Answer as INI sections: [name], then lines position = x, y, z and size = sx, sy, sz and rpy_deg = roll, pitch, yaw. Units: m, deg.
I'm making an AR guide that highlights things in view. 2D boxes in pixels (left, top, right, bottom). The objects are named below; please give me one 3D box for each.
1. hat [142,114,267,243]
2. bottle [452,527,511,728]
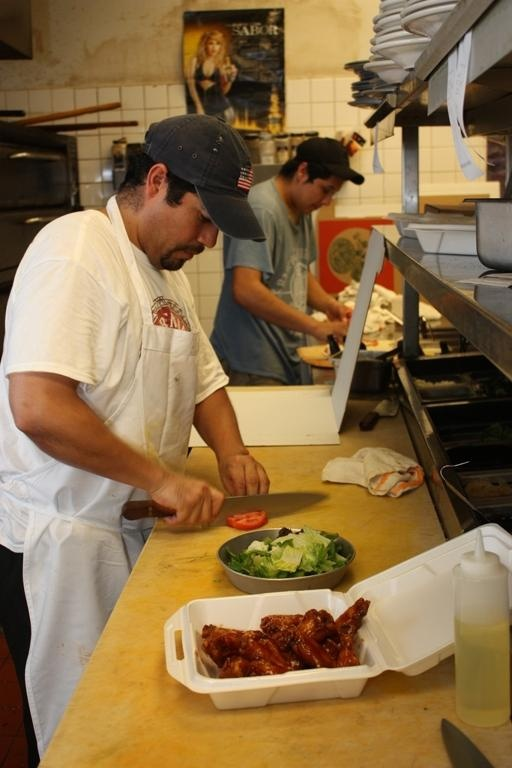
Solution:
[hat]
position = -0.090, -0.491, 1.333
size = 0.328, 0.169, 0.205
rpy_deg = 40, 32, 16
[bottle]
position = 0.234, 0.247, 0.617
size = 0.063, 0.226, 0.126
rpy_deg = -3, 9, 17
